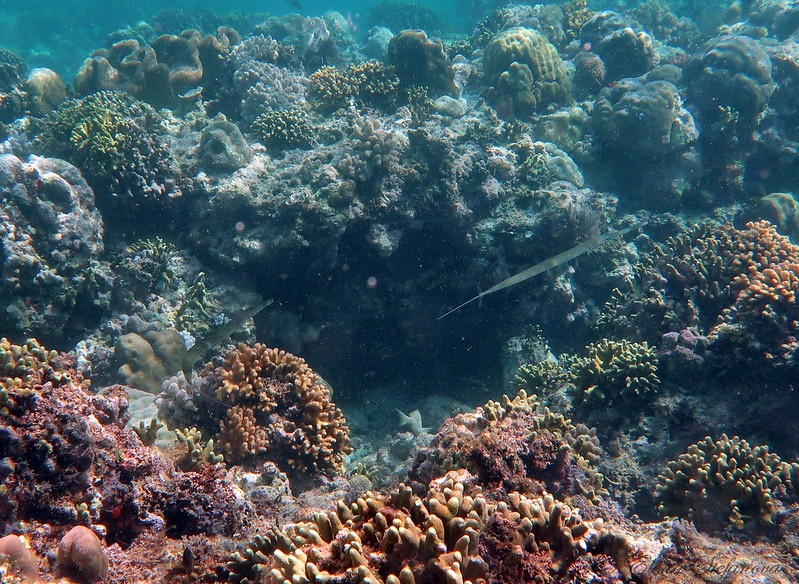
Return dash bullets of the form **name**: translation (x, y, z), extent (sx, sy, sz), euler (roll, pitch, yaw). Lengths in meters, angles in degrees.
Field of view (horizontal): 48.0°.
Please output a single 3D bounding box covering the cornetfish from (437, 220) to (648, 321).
- **cornetfish**: translation (3.441, -0.510, 22.922), extent (4.043, 0.479, 0.357), euler (-31, 29, 0)
